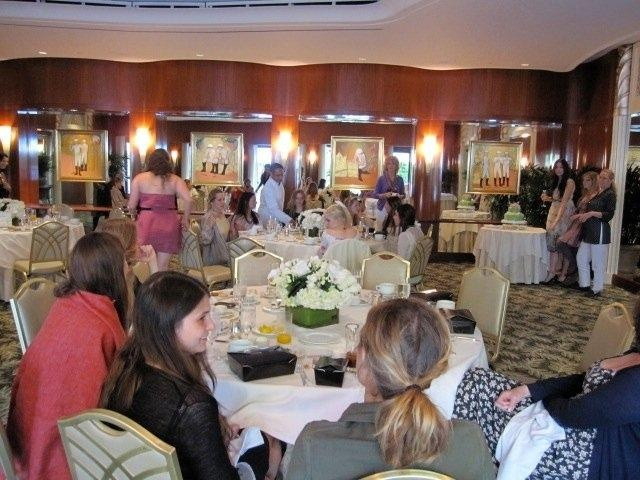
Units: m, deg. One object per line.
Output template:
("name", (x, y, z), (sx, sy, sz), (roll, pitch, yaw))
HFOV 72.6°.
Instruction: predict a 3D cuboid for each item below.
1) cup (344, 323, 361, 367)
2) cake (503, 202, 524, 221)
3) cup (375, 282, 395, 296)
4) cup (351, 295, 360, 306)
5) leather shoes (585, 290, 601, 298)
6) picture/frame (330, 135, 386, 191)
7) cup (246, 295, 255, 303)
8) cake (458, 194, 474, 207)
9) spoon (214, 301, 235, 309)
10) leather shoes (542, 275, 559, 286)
("cup", (0.153, 0.531, 2.200), (0.067, 0.224, 0.067), (2, -15, 1))
("cake", (3.403, -0.471, 7.697), (0.328, 0.394, 0.357), (-3, 7, -26))
("cup", (0.476, 0.346, 3.114), (0.104, 0.065, 0.091), (-5, 8, -1))
("cup", (0.242, 0.421, 3.037), (0.059, 0.050, 0.064), (-2, 9, 0))
("leather shoes", (4.202, 0.840, 6.704), (0.206, 0.104, 0.097), (4, 8, -9))
("picture/frame", (0.758, -1.669, 9.116), (1.039, 1.185, 0.091), (2, 6, -6))
("cup", (-0.402, 0.345, 2.537), (0.040, 0.034, 0.043), (0, 7, 0))
("cake", (3.033, -0.821, 9.075), (0.231, 0.264, 0.251), (0, -1, 3))
("spoon", (-0.635, 0.436, 2.947), (0.061, 0.021, 0.061), (8, 8, 43))
("leather shoes", (3.990, 0.683, 7.523), (0.409, 0.221, 0.139), (7, -7, -40))
